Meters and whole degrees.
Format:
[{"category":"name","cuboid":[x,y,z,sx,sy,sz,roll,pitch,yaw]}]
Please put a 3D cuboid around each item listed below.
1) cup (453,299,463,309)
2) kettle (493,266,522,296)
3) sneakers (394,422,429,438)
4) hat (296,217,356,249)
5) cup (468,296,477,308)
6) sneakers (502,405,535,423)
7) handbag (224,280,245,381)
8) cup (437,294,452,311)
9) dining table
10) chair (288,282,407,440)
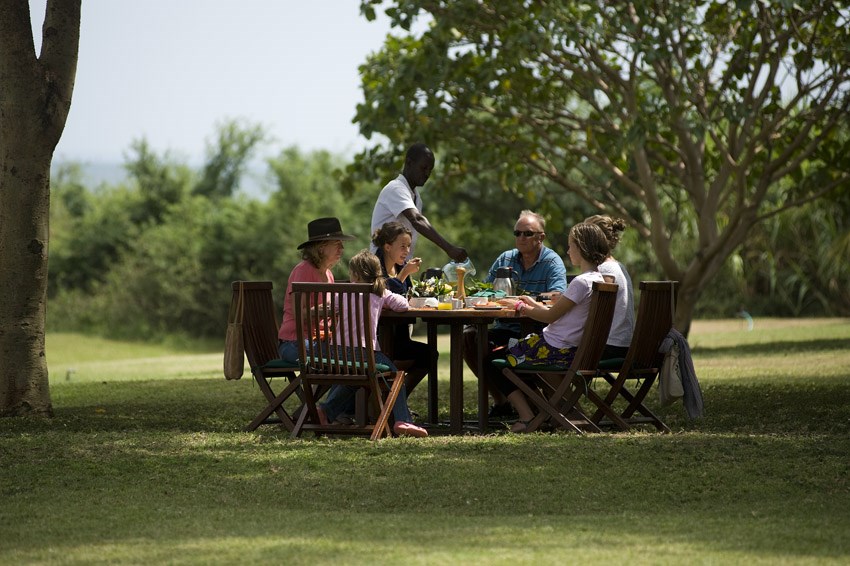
[{"category":"cup","cuboid":[0.360,0.229,16.197,0.108,0.110,0.219,2,1,21]},{"category":"kettle","cuboid":[0.962,-0.013,16.804,0.311,0.353,0.269,2,-4,4]},{"category":"sneakers","cuboid":[-0.172,1.657,16.334,0.431,0.153,0.172,8,18,0]},{"category":"hat","cuboid":[-1.227,-0.593,16.696,0.465,0.193,0.410,-11,3,7]},{"category":"cup","cuboid":[0.531,0.211,16.209,0.101,0.100,0.103,1,-3,0]},{"category":"sneakers","cuboid":[1.118,1.533,16.681,0.146,0.178,0.439,-5,1,-28]},{"category":"handbag","cuboid":[-2.187,0.545,16.435,0.221,1.122,0.346,1,2,-8]},{"category":"cup","cuboid":[0.226,0.217,16.237,0.158,0.157,0.159,1,-7,0]},{"category":"dining table","cuboid":[0.393,0.960,16.514,1.471,1.130,1.499,-1,-2,2]},{"category":"chair","cuboid":[-0.826,0.869,16.048,1.325,1.765,0.843,2,2,-2]}]
